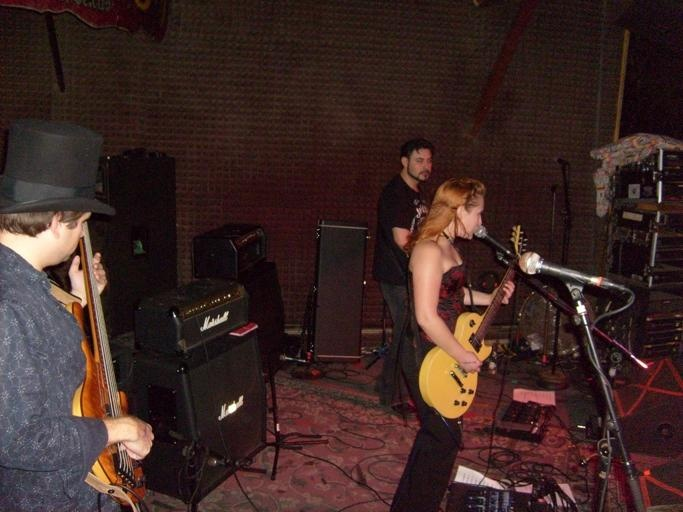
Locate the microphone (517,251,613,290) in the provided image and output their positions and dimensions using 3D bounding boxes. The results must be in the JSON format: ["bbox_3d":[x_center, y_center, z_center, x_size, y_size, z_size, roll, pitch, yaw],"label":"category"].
[{"bbox_3d":[1.808,0.125,5.043,0.716,0.190,0.196,21,-1,15],"label":"microphone"}]

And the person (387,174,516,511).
[{"bbox_3d":[0.646,0.620,3.887,0.596,2.147,0.991,5,15,18],"label":"person"}]

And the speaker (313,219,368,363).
[{"bbox_3d":[-0.026,0.340,5.891,0.495,1.327,0.246,0,15,1],"label":"speaker"}]

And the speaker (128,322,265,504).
[{"bbox_3d":[-0.942,1.001,3.903,0.492,1.184,1.101,1,7,21],"label":"speaker"}]
